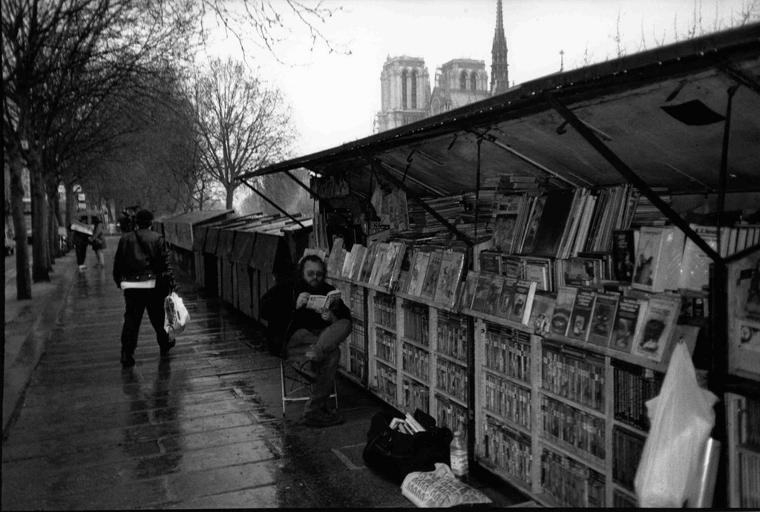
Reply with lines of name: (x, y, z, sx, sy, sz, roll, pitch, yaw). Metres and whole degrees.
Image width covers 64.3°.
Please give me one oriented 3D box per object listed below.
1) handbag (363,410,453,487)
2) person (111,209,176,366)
handbag: (0.268, 2.015, 6.403, 0.627, 0.550, 1.250, 4, -4, -25)
person: (-4.052, 0.496, 10.432, 0.955, 2.577, 0.989, -3, 6, -14)
